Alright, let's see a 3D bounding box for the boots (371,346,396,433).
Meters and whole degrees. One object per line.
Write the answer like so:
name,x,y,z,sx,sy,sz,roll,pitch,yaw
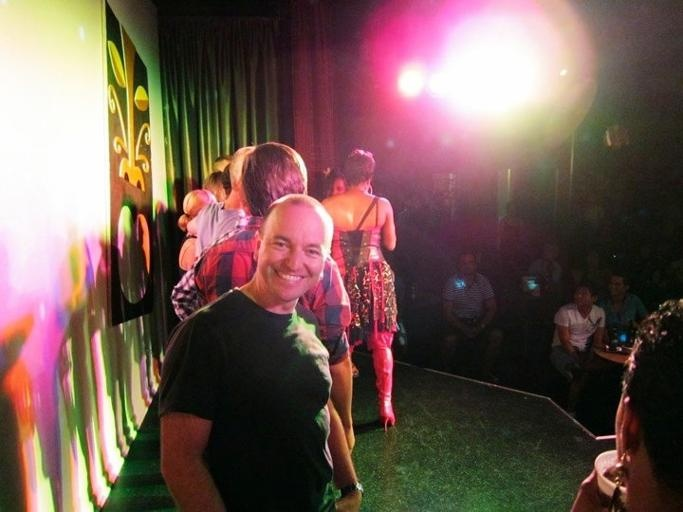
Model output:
boots,0.300,0.821,3.212,0.171,0.469,0.251,0,8,-10
